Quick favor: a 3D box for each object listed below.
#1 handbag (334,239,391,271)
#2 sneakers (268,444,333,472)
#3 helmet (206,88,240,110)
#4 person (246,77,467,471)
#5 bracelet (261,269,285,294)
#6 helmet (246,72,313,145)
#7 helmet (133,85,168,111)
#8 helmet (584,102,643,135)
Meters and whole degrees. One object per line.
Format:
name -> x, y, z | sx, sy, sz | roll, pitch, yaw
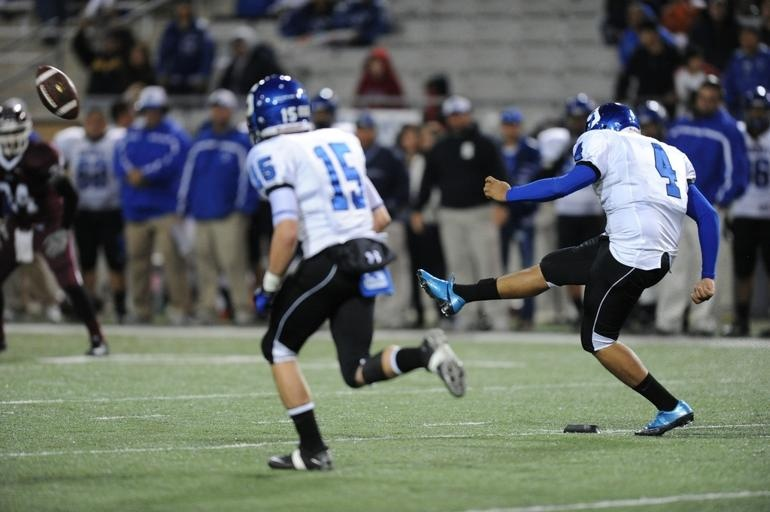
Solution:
handbag -> -0.139, -0.003, 6.850 | 0.435, 0.223, 0.176 | -4, 6, -38
sneakers -> -0.547, 1.366, 6.773 | 0.427, 0.186, 0.162 | 4, -13, 10
helmet -> -2.179, -2.106, 13.740 | 0.325, 0.253, 0.400 | -2, 5, -17
person -> -0.343, 0.080, 6.851 | 1.247, 2.628, 0.815 | -1, 4, 1
bracelet -> -0.744, 0.176, 6.796 | 0.125, 0.144, 0.134 | 3, 6, -26
helmet -> -0.771, -1.029, 7.202 | 0.400, 0.518, 0.531 | -8, 5, -31
helmet -> -3.110, -2.092, 13.738 | 0.462, 0.455, 0.364 | 5, 7, 41
helmet -> 1.729, -1.030, 7.820 | 0.303, 0.290, 0.245 | 27, 16, 28
